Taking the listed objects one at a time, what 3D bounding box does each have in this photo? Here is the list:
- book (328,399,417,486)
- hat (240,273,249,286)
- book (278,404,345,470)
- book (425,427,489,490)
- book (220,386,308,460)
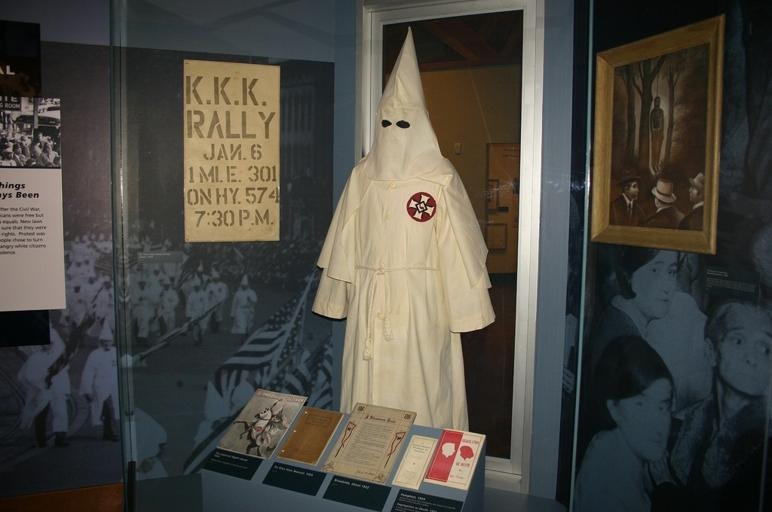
[{"bbox_3d":[-0.071,0.887,2.921,0.374,0.275,0.244,3,6,15],"label":"book"},{"bbox_3d":[-0.786,0.132,3.474,0.054,0.095,0.051,6,-4,-6],"label":"hat"},{"bbox_3d":[-0.358,0.888,2.967,0.308,0.034,0.419,4,39,25],"label":"book"},{"bbox_3d":[0.316,0.934,2.828,0.241,0.200,0.175,3,6,15],"label":"book"},{"bbox_3d":[-0.620,0.852,3.097,0.388,0.056,0.507,6,37,15],"label":"book"}]
